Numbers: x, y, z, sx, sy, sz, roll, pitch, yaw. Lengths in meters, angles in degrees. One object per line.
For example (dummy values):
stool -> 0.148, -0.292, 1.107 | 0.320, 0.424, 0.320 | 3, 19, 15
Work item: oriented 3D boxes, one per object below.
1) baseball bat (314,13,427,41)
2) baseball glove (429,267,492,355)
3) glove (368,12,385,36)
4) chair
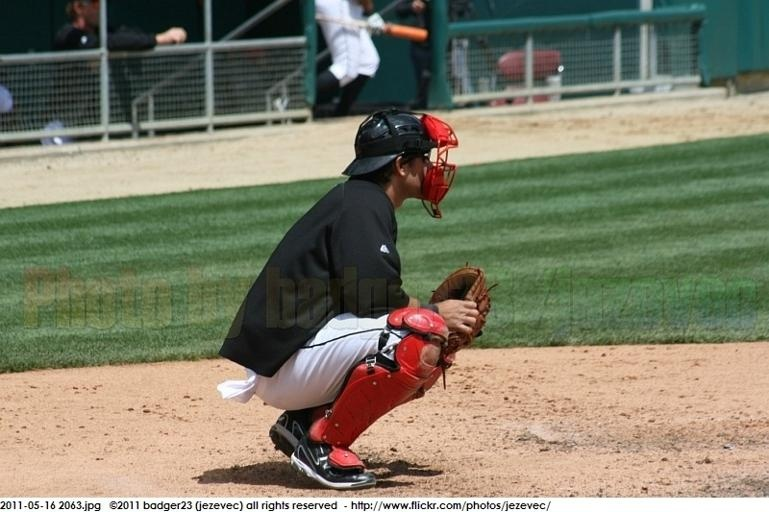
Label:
baseball bat -> -0.137, -2.044, 18.343 | 1.265, 0.188, 0.189 | 7, 5, -12
baseball glove -> 0.561, 0.361, 14.778 | 0.215, 0.595, 0.464 | 36, 0, -35
glove -> -0.080, -2.044, 18.171 | 0.066, 0.173, 0.127 | -20, 15, 37
chair -> 1.215, -1.561, 17.942 | 0.742, 0.476, 0.269 | 2, 8, 41
